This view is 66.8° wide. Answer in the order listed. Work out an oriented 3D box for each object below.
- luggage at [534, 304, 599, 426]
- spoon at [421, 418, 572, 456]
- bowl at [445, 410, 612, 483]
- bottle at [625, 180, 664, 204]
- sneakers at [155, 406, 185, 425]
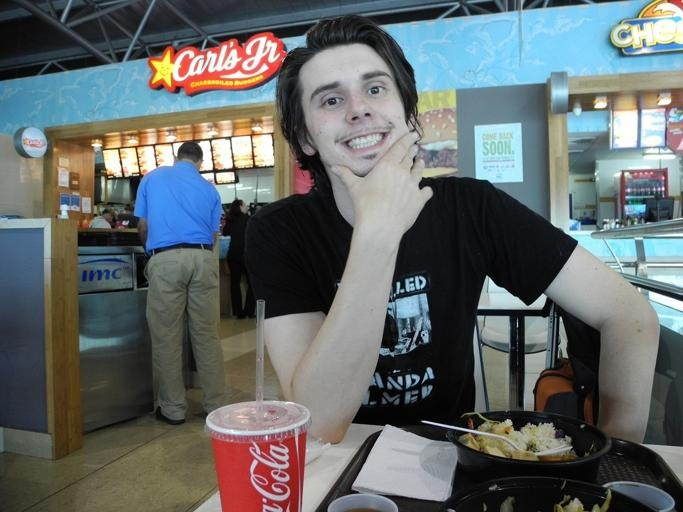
[{"bbox_3d":[0.762,0.437,1.752,0.222,0.453,0.294,3,-6,24],"label":"luggage"},{"bbox_3d":[0.388,0.436,1.247,0.293,0.050,0.050,10,4,1],"label":"spoon"},{"bbox_3d":[0.427,0.441,1.199,0.345,0.094,0.231,3,6,30],"label":"bowl"},{"bbox_3d":[5.922,-1.248,10.091,0.586,0.435,0.348,-2,41,10],"label":"bottle"},{"bbox_3d":[-1.190,1.110,3.591,0.228,0.106,0.092,18,14,34],"label":"sneakers"}]
